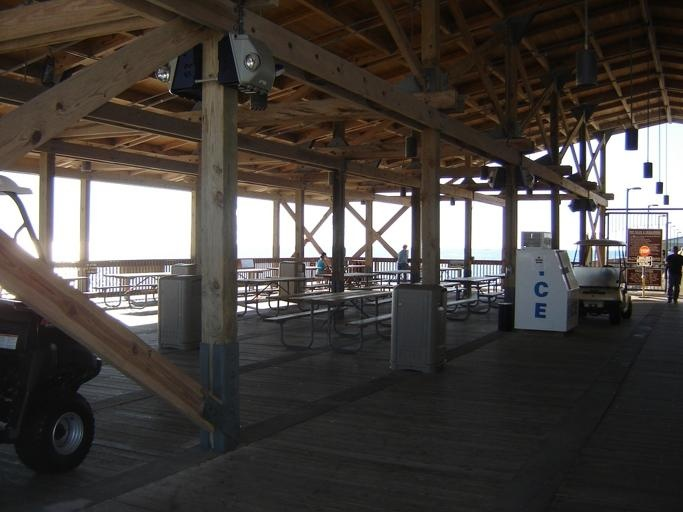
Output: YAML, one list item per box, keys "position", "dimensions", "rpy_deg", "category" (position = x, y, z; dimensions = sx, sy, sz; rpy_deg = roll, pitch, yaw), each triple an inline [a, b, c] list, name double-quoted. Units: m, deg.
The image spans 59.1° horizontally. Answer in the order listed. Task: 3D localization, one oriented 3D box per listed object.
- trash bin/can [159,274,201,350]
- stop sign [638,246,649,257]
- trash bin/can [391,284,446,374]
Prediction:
- position: [-2.522, 0.855, 9.480]
  dimensions: [0.728, 1.086, 0.745]
  rpy_deg: [1, 0, -16]
  category: "trash bin/can"
- position: [10.678, -0.180, 21.379]
  dimensions: [0.345, 0.429, 0.055]
  rpy_deg: [-2, -1, -3]
  category: "stop sign"
- position: [0.993, 0.931, 7.935]
  dimensions: [0.686, 1.128, 0.308]
  rpy_deg: [0, 3, 2]
  category: "trash bin/can"
